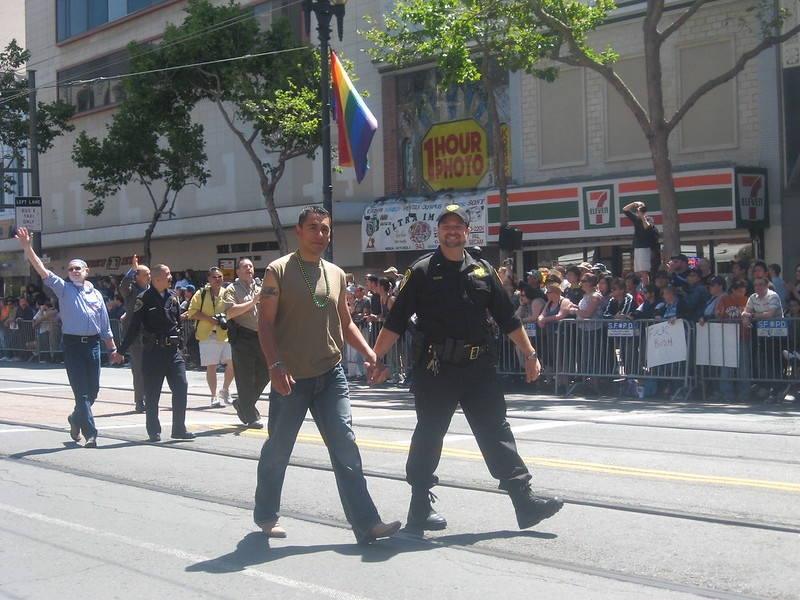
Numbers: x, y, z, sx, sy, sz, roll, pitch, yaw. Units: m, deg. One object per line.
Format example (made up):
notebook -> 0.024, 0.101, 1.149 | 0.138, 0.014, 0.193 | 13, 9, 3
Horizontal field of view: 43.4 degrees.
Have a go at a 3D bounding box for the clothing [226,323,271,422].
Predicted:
clothing -> -2.017, 0.965, 13.386 | 0.736, 1.451, 0.586 | -1, 1, 21

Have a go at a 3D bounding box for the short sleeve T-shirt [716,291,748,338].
short sleeve T-shirt -> 5.131, 0.248, 15.586 | 0.342, 0.632, 0.595 | 19, -17, -28

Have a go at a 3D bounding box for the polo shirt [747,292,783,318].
polo shirt -> 5.575, 0.104, 15.484 | 0.484, 0.438, 0.391 | 19, -16, -29

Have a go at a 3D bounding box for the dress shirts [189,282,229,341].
dress shirts -> -2.857, 0.180, 15.291 | 0.819, 0.818, 0.455 | -1, 9, -36

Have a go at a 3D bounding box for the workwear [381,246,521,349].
workwear -> 0.443, -0.004, 8.862 | 1.453, 0.888, 0.460 | 0, -3, -17

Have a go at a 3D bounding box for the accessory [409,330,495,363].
accessory -> 0.414, 0.363, 8.726 | 0.464, 0.183, 0.362 | 0, 2, -16

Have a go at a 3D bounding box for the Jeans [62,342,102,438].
Jeans -> -3.882, 1.070, 12.351 | 0.416, 1.303, 0.431 | -3, 6, -18

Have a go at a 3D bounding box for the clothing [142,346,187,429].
clothing -> -2.934, 1.047, 12.694 | 0.584, 1.386, 0.449 | -3, -25, -5

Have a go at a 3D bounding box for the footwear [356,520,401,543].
footwear -> -0.197, 1.965, 8.568 | 0.414, 0.143, 0.164 | -20, -1, 12

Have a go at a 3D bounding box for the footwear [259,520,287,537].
footwear -> -1.115, 2.014, 8.816 | 0.125, 0.096, 0.240 | 2, -8, -34

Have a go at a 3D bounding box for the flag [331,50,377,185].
flag -> -0.942, -3.762, 20.326 | 0.831, 2.720, 1.921 | -2, 5, -4

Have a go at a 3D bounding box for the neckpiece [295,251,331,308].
neckpiece -> -0.752, -0.178, 8.763 | 0.307, 0.474, 0.082 | 7, -28, -36

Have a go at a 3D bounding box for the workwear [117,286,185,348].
workwear -> -3.062, 0.265, 12.843 | 0.419, 0.921, 1.206 | 2, 2, 41

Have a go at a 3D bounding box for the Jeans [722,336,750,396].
Jeans -> 5.238, 1.030, 15.526 | 0.258, 0.832, 0.181 | 2, -13, 16

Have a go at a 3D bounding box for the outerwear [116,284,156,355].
outerwear -> -3.219, 0.289, 12.862 | 0.286, 0.938, 0.526 | 6, 24, 17

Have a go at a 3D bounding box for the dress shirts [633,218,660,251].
dress shirts -> 4.517, -1.215, 18.555 | 0.451, 0.550, 0.325 | 0, 5, 13
